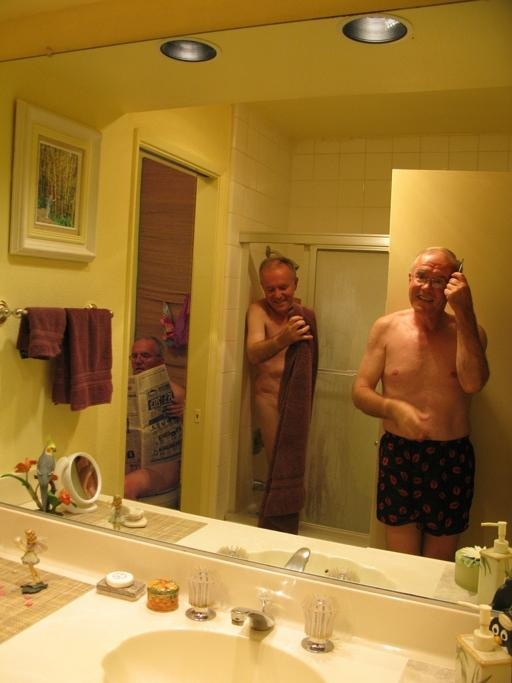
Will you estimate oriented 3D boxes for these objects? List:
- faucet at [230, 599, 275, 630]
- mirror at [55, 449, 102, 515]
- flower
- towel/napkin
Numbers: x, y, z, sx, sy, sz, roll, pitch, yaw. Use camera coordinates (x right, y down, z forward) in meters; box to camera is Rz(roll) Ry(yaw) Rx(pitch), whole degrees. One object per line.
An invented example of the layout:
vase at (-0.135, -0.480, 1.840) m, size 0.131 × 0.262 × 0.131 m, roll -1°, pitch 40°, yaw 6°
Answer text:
faucet at (-0.007, 0.497, 1.107) m, size 0.090 × 0.050 × 0.042 m, roll 5°, pitch -8°, yaw -40°
mirror at (-0.421, 0.342, 1.491) m, size 0.097 × 0.138 × 0.122 m, roll -2°, pitch 7°, yaw 31°
flower at (-0.533, 0.353, 1.549) m, size 0.169 × 0.164 × 0.148 m, roll 3°, pitch 5°, yaw 16°
towel/napkin at (-0.457, 0.033, 1.454) m, size 0.272 × 0.269 × 0.115 m, roll 0°, pitch -8°, yaw -8°
